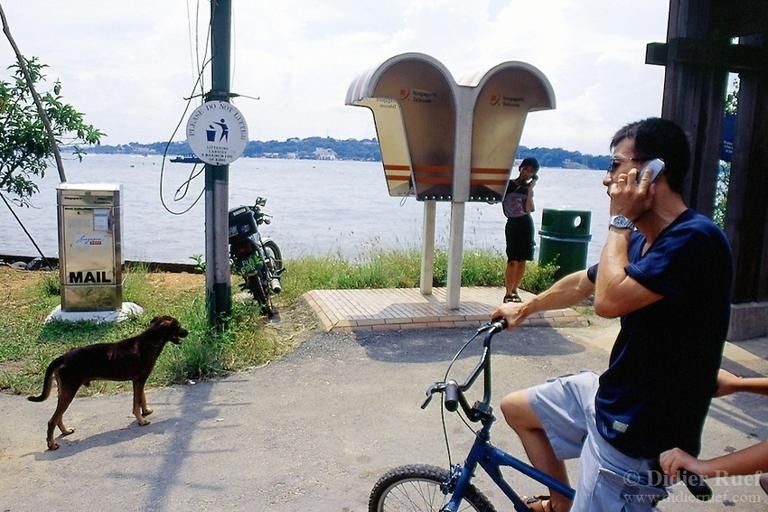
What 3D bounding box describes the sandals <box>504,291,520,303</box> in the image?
[{"bbox_3d":[1.991,0.659,10.506,0.227,0.153,0.382,-1,-8,1],"label":"sandals"}]
